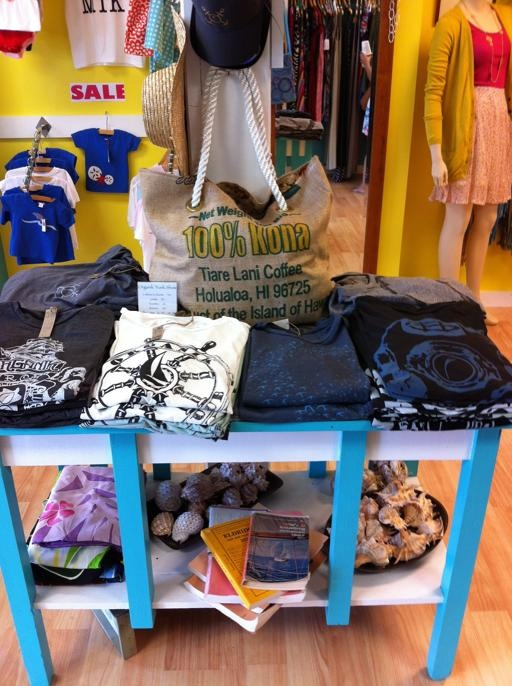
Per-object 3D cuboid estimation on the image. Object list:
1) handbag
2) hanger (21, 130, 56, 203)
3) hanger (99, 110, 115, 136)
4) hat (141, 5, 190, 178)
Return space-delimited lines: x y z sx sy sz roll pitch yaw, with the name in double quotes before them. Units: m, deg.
"handbag" -0.021 -0.321 1.255 0.302 0.555 0.391 21 34 40
"hanger" -1.168 -0.935 2.922 0.119 0.486 0.223 7 8 -14
"hanger" -0.870 -1.258 3.150 0.084 0.121 0.055 -6 26 -8
"hat" -0.194 -0.508 1.183 0.108 0.183 0.276 -3 67 -8
